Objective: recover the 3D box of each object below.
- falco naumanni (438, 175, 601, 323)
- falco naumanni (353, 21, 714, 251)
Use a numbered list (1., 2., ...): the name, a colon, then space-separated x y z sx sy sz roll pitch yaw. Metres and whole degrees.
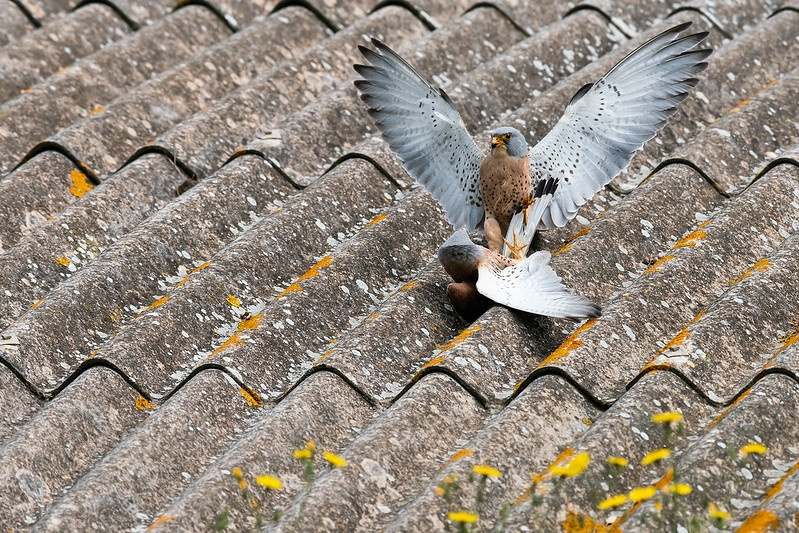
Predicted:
1. falco naumanni: 0.420 -0.011 6.555 0.520 0.440 0.582 -16 84 1
2. falco naumanni: 0.480 -0.471 6.880 1.409 0.523 0.884 2 75 22
